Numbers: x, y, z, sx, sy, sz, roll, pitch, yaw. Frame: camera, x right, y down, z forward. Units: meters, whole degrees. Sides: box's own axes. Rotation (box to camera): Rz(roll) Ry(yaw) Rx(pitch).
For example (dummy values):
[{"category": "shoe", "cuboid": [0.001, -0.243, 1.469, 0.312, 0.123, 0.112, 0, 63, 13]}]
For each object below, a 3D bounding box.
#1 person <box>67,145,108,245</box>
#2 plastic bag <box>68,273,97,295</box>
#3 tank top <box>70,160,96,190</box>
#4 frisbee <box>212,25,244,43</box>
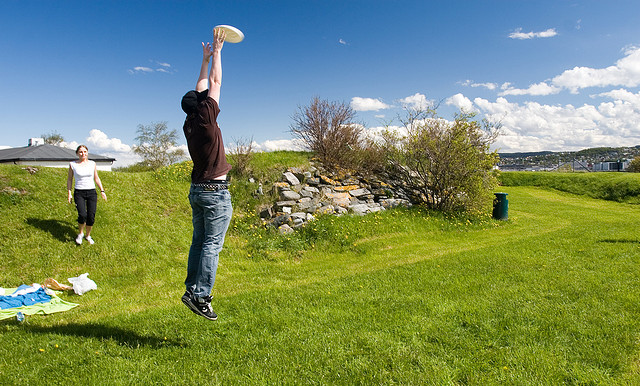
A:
[{"category": "person", "cuboid": [-8.294, 0.080, 14.784, 1.019, 3.491, 0.659, -3, 6, -28]}, {"category": "plastic bag", "cuboid": [-7.447, 2.811, 13.016, 0.638, 0.290, 0.605, 41, 36, 22]}, {"category": "tank top", "cuboid": [-8.269, -0.633, 14.543, 0.649, 1.180, 1.036, -5, -2, 38]}, {"category": "frisbee", "cuboid": [-2.292, -4.062, 10.657, 0.550, 0.334, 0.656, 3, 8, 31]}]
